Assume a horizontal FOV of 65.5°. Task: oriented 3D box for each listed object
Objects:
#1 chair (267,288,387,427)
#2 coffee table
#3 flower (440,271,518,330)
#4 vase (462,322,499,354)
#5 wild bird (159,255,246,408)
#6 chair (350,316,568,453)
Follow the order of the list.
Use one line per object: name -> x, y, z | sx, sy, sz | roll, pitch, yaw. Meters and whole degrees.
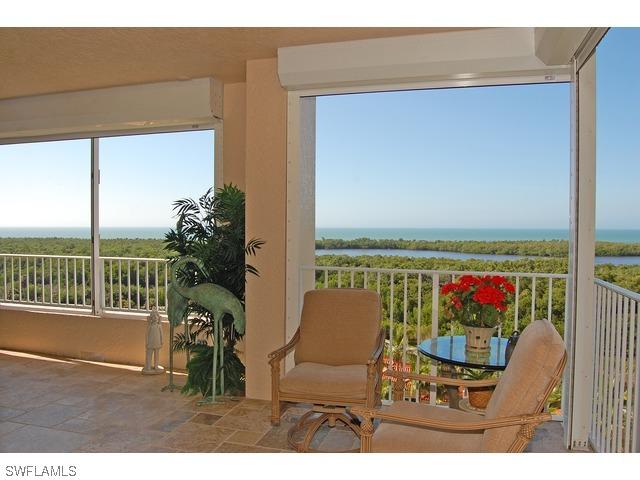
chair -> 0.077, 0.927, 4.189 | 0.981, 1.198, 1.049 | -1, -9, 11
coffee table -> 1.143, 0.942, 3.824 | 0.702, 0.324, 0.690 | -1, 1, -3
flower -> 1.311, 0.509, 3.960 | 0.625, 0.406, 0.629 | 4, 6, 26
vase -> 1.260, 0.751, 3.871 | 0.214, 0.154, 0.224 | 1, -1, 36
wild bird -> -1.082, 0.811, 4.659 | 0.925, 1.356, 0.534 | 6, 13, 42
chair -> 0.826, 0.872, 2.904 | 1.080, 0.701, 0.860 | 2, 10, 25
